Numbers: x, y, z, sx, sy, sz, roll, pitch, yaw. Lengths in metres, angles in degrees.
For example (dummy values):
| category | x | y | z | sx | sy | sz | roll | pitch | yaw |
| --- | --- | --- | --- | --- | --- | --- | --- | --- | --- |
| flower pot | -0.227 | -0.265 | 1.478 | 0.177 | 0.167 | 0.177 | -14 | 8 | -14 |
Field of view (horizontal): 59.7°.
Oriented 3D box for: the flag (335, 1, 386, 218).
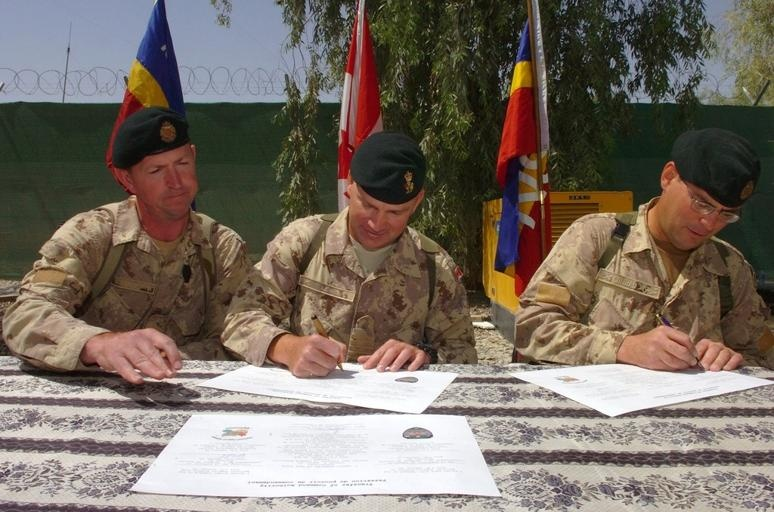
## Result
| category | x | y | z | sx | sy | sz | roll | pitch | yaw |
| --- | --- | --- | --- | --- | --- | --- | --- | --- | --- |
| flag | -0.222 | -1.259 | 5.393 | 0.258 | 1.933 | 0.286 | -11 | 14 | -42 |

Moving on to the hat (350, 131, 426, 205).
| category | x | y | z | sx | sy | sz | roll | pitch | yaw |
| --- | --- | --- | --- | --- | --- | --- | --- | --- | --- |
| hat | 0.010 | -0.433 | 3.844 | 0.318 | 0.482 | 0.486 | 0 | -5 | 2 |

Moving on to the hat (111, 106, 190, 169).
| category | x | y | z | sx | sy | sz | roll | pitch | yaw |
| --- | --- | --- | --- | --- | --- | --- | --- | --- | --- |
| hat | -1.333 | -0.753 | 3.887 | 0.391 | 0.231 | 0.534 | -14 | 23 | -28 |

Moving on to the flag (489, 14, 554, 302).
| category | x | y | z | sx | sy | sz | roll | pitch | yaw |
| --- | --- | --- | --- | --- | --- | --- | --- | --- | --- |
| flag | 1.063 | -0.734 | 5.373 | 0.280 | 2.441 | 0.368 | -1 | 9 | -8 |
